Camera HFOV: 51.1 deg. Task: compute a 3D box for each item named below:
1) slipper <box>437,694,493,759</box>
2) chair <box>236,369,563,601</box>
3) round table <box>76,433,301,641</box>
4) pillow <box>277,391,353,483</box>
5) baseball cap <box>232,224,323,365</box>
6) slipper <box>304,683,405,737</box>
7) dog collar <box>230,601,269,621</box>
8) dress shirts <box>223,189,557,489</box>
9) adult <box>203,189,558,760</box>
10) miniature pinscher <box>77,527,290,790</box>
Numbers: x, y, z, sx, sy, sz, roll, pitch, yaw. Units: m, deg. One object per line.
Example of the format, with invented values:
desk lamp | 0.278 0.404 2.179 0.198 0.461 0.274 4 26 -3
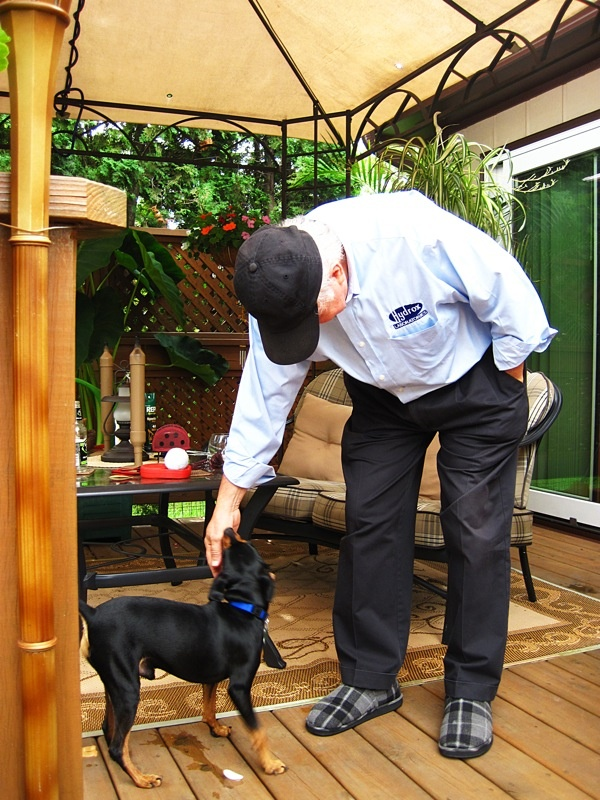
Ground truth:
slipper | 0.389 0.740 1.473 0.117 0.081 0.232 -4 5 20
chair | 0.279 0.293 2.718 0.908 0.914 1.480 -2 2 -38
round table | -0.539 0.488 2.303 0.781 0.426 0.735 0 1 0
pillow | 0.083 0.194 3.002 0.389 0.332 0.105 14 -14 25
baseball cap | -0.059 -0.203 1.128 0.198 0.280 0.145 -2 -31 -4
slipper | 0.135 0.749 1.550 0.240 0.085 0.079 4 -9 -35
dog collar | -0.103 0.423 1.270 0.055 0.012 0.049 19 -14 8
dress shirts | 0.135 -0.186 1.507 0.857 0.622 0.462 -21 33 -5
adult | 0.148 0.171 1.526 0.844 1.206 0.587 -3 -1 -21
miniature pinscher | -0.233 0.521 1.265 0.400 0.414 0.317 1 0 -33
